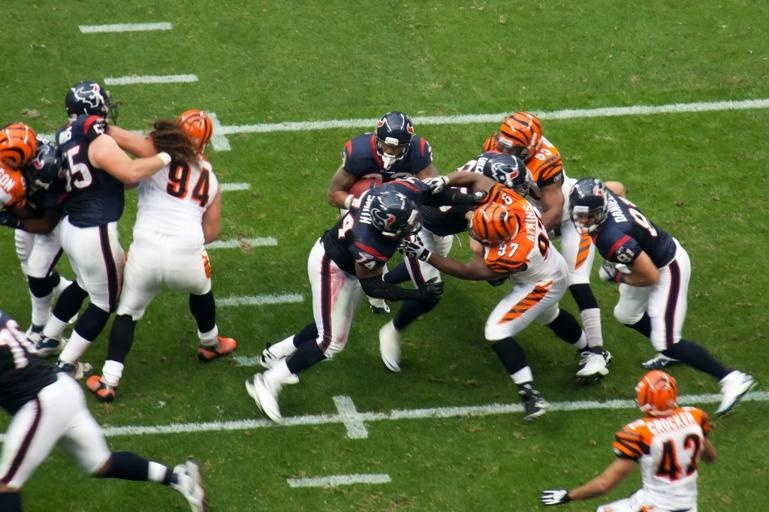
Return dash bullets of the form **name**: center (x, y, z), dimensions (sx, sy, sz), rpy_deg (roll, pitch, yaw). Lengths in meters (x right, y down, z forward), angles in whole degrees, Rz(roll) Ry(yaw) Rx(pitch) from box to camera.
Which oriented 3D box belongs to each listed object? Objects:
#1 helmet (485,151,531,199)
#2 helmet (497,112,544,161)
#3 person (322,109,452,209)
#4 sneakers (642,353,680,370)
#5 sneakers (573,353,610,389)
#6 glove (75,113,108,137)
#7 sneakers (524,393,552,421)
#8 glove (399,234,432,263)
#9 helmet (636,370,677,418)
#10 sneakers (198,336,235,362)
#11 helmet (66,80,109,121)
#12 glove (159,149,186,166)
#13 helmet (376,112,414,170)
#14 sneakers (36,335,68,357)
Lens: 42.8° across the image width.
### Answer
- **helmet**: center (1.256, -0.877, 10.256), dimensions (0.489, 0.365, 0.342), rpy_deg (28, 16, -15)
- **helmet**: center (1.485, -1.346, 10.569), dimensions (0.515, 0.448, 0.394), rpy_deg (-10, 71, -9)
- **person**: center (-0.108, -1.143, 10.577), dimensions (1.089, 1.765, 1.074), rpy_deg (-7, 68, -10)
- **sneakers**: center (2.913, 1.124, 10.554), dimensions (0.477, 0.191, 0.158), rpy_deg (0, 5, 3)
- **sneakers**: center (2.151, 1.207, 10.360), dimensions (0.246, 0.186, 0.439), rpy_deg (62, 30, 2)
- **glove**: center (-2.839, -1.295, 9.711), dimensions (0.256, 0.247, 0.184), rpy_deg (-16, 19, 8)
- **sneakers**: center (1.532, 1.534, 10.079), dimensions (0.186, 0.145, 0.335), rpy_deg (-15, 9, 15)
- **glove**: center (0.283, -0.041, 9.820), dimensions (0.334, 0.153, 0.246), rpy_deg (19, 36, -4)
- **helmet**: center (2.454, 1.226, 9.077), dimensions (0.335, 0.346, 0.414), rpy_deg (-13, 19, -11)
- **sneakers**: center (-1.761, 0.992, 10.410), dimensions (0.402, 0.177, 0.202), rpy_deg (-24, 54, -25)
- **helmet**: center (-2.953, -1.587, 9.959), dimensions (0.459, 0.355, 0.328), rpy_deg (-11, 31, -20)
- **glove**: center (-2.088, -0.984, 9.738), dimensions (0.130, 0.089, 0.218), rpy_deg (41, 9, 35)
- **helmet**: center (0.070, -1.226, 10.319), dimensions (0.428, 0.479, 0.550), rpy_deg (14, 67, -10)
- **sneakers**: center (-3.445, 0.939, 10.192), dimensions (0.408, 0.282, 0.132), rpy_deg (-5, 79, -36)
